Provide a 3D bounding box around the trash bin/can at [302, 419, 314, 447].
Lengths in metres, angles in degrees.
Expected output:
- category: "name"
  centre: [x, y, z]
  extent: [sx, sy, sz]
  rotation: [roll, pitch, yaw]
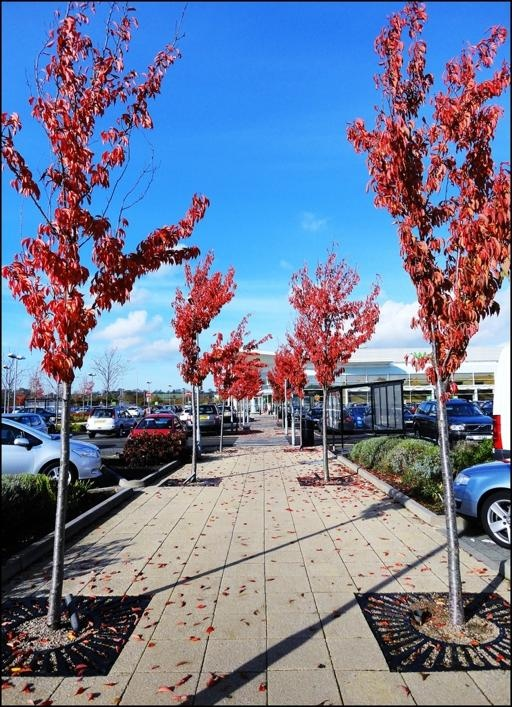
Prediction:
- category: "trash bin/can"
  centre: [1.998, 3.178, 17.398]
  extent: [0.411, 1.092, 0.898]
  rotation: [0, -6, 3]
